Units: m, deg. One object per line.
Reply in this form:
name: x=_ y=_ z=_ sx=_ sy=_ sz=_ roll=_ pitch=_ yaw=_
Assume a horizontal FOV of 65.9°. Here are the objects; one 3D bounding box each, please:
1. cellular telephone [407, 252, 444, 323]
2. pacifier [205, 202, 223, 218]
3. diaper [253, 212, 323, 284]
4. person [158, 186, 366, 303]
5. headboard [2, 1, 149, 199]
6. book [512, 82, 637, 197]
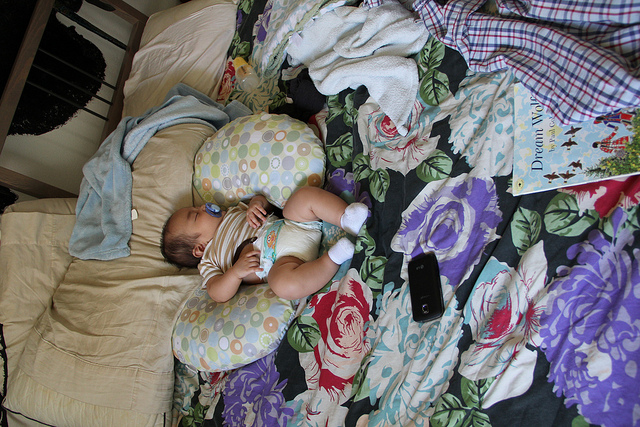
cellular telephone: x=0.359 y=0.256 z=1.678 sx=0.114 sy=0.220 sz=0.048 roll=-17 pitch=-28 yaw=36
pacifier: x=-0.470 y=-0.016 z=2.206 sx=0.059 sy=0.021 sz=0.057 roll=29 pitch=5 yaw=-46
diaper: x=-0.136 y=0.115 z=2.047 sx=0.248 sy=0.271 sz=0.091 roll=24 pitch=4 yaw=35
person: x=-0.237 y=0.151 z=2.076 sx=0.791 sy=0.453 sz=0.291 roll=-5 pitch=-33 yaw=38
headboard: x=-1.389 y=-0.519 z=2.832 sx=0.311 sy=1.179 sz=0.567 roll=27 pitch=40 yaw=37
book: x=0.795 y=-0.210 z=1.546 sx=0.348 sy=0.292 sz=0.036 roll=-2 pitch=-10 yaw=29
